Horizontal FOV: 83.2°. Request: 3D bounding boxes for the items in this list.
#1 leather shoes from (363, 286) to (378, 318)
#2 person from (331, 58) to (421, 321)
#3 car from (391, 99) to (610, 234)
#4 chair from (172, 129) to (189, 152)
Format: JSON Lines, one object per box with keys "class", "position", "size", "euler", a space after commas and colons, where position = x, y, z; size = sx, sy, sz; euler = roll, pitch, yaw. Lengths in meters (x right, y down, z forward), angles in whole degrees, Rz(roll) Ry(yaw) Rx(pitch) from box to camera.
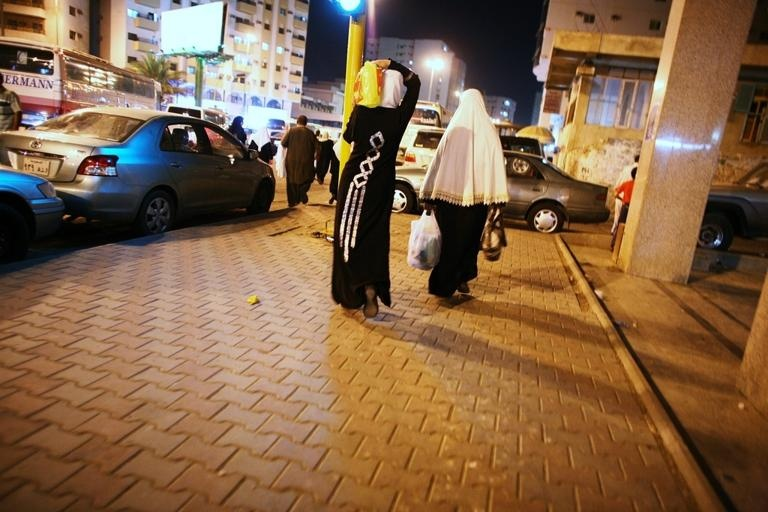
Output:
{"class": "leather shoes", "position": [-0.147, 0.541, 5.001], "size": [0.134, 0.383, 0.272], "euler": [1, 20, 3]}
{"class": "person", "position": [-0.154, -0.709, 4.982], "size": [0.795, 2.915, 0.794], "euler": [6, 17, 0]}
{"class": "car", "position": [3.159, -2.305, 12.938], "size": [6.259, 2.295, 2.766], "euler": [1, 10, 6]}
{"class": "chair", "position": [-3.809, -2.165, 8.131], "size": [0.389, 0.425, 0.308], "euler": [4, 5, 42]}
